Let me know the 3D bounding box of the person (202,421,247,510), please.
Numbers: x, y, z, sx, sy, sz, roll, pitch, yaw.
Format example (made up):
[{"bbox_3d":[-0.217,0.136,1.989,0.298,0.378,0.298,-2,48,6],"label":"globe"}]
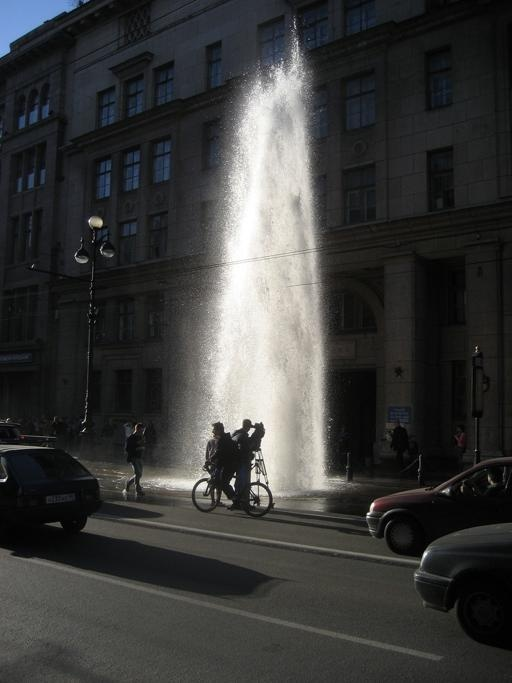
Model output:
[{"bbox_3d":[-0.647,2.130,13.282,0.558,1.399,1.196,2,-4,-10],"label":"person"}]

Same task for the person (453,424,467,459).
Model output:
[{"bbox_3d":[6.293,3.042,23.002,0.344,0.991,2.377,0,-5,15],"label":"person"}]

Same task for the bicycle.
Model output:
[{"bbox_3d":[-0.388,2.651,13.186,1.323,0.945,0.710,6,-14,21],"label":"bicycle"}]
